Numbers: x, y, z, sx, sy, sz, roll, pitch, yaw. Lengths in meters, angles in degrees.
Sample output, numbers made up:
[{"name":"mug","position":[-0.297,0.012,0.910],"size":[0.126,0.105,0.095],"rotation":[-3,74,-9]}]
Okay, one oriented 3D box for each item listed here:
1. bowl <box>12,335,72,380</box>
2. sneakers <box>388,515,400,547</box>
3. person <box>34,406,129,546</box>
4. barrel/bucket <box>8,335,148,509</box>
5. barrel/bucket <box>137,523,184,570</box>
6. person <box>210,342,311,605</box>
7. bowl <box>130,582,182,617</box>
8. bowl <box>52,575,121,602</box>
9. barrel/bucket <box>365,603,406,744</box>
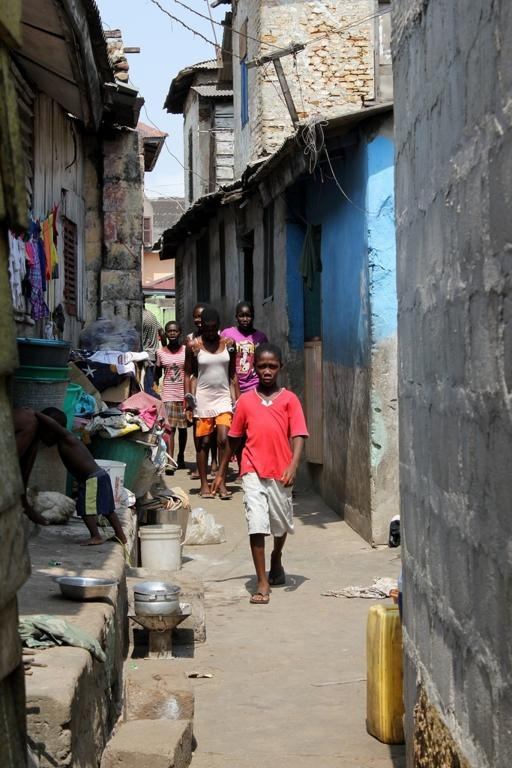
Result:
[{"name":"bowl","position":[-1.283,-0.162,5.599],"size":[0.238,0.304,0.592],"rotation":[1,1,20]},{"name":"sneakers","position":[1.016,1.285,6.945],"size":[0.073,0.288,0.191],"rotation":[1,2,3]},{"name":"person","position":[-0.899,0.606,4.979],"size":[0.463,0.881,0.637],"rotation":[0,2,-11]},{"name":"barrel/bucket","position":[-0.941,0.289,6.093],"size":[0.799,1.680,1.236],"rotation":[3,2,-3]},{"name":"barrel/bucket","position":[-0.589,1.230,6.000],"size":[0.245,0.315,0.271],"rotation":[1,-4,-12]},{"name":"person","position":[0.042,0.619,6.141],"size":[0.478,1.812,1.515],"rotation":[1,1,-2]},{"name":"bowl","position":[-0.472,1.209,4.528],"size":[0.219,0.116,0.403],"rotation":[1,1,-8]},{"name":"bowl","position":[-0.661,0.929,3.693],"size":[0.233,0.119,0.396],"rotation":[1,1,-8]},{"name":"barrel/bucket","position":[0.475,1.247,3.425],"size":[0.129,0.577,0.328],"rotation":[1,2,1]}]
